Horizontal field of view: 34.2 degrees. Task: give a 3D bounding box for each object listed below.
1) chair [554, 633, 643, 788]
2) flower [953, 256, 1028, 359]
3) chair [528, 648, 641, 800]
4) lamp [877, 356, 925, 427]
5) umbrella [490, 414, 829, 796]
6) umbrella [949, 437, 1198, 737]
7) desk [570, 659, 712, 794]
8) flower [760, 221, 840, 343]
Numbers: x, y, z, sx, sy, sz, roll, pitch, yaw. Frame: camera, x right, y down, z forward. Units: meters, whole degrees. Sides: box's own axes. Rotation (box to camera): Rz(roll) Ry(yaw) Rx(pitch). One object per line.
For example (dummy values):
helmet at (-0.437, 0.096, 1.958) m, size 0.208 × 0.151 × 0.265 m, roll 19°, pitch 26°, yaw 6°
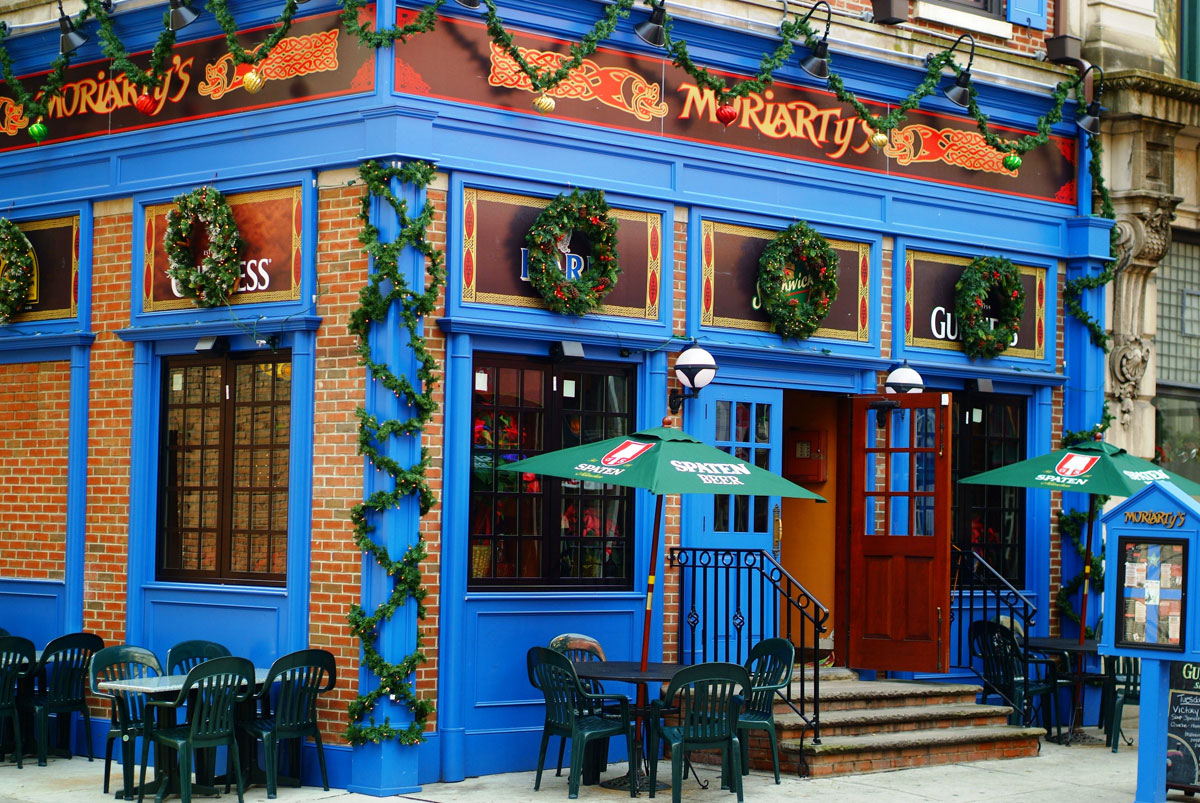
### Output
chair at (0.045, 3.070, 18.936) m, size 0.970 × 1.306 × 0.959 m, roll 7°, pitch 10°, yaw 13°
flower at (4.419, -1.050, 21.898) m, size 0.787 × 1.127 × 0.303 m, roll -1°, pitch 7°, yaw -29°
chair at (-0.194, 2.975, 18.400) m, size 0.866 × 1.379 × 1.278 m, roll -2°, pitch 7°, yaw -35°
lamp at (3.257, -0.158, 21.154) m, size 0.572 × 0.843 × 0.532 m, roll 1°, pitch -2°, yaw -40°
umbrella at (0.565, 1.848, 19.288) m, size 3.471 × 3.390 × 3.191 m, roll 1°, pitch 7°, yaw -29°
umbrella at (4.964, 2.002, 20.430) m, size 2.870 × 2.114 × 2.775 m, roll -4°, pitch 7°, yaw -44°
desk at (0.330, 3.127, 18.555) m, size 0.919 × 0.943 × 0.953 m, roll -20°, pitch -23°, yaw 24°
flower at (2.127, -1.278, 20.631) m, size 0.900 × 1.238 × 0.276 m, roll -1°, pitch 6°, yaw -26°
